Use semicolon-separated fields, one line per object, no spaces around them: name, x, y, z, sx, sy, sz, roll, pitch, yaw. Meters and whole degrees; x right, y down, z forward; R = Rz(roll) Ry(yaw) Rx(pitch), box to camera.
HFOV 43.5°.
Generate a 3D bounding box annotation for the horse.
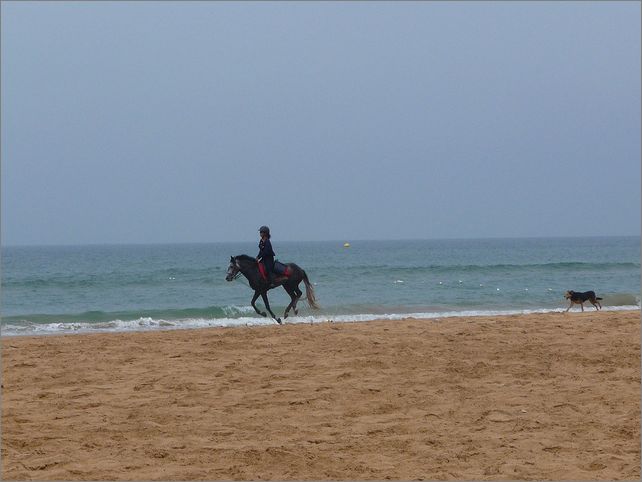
horse;-1.694;1.699;29.252;3.612;2.618;1.040;-3;-4;-30
